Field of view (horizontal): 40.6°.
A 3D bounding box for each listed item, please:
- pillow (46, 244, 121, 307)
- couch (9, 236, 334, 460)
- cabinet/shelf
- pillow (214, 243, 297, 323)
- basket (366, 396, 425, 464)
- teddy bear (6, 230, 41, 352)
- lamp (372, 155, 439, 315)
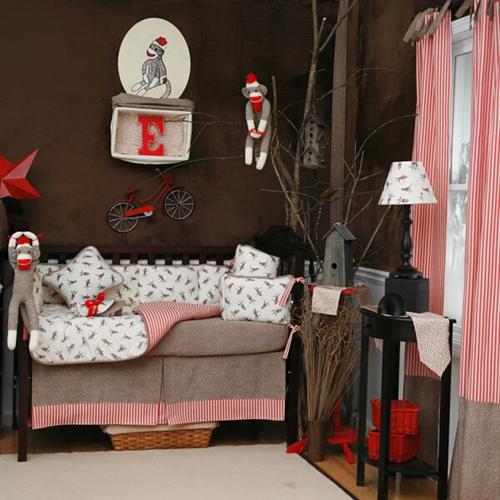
[{"bbox_3d":[-0.924,0.150,3.822,0.329,0.104,0.314,40,52,18],"label":"pillow"},{"bbox_3d":[-0.443,0.498,3.736,1.378,1.162,0.929,2,-1,-4],"label":"couch"},{"bbox_3d":[0.707,0.705,3.132,0.422,0.857,0.462,2,5,12],"label":"cabinet/shelf"},{"bbox_3d":[0.023,0.223,3.905,0.344,0.410,0.155,4,-18,1],"label":"pillow"},{"bbox_3d":[0.686,0.860,3.201,0.267,0.241,0.221,3,-4,-32],"label":"basket"},{"bbox_3d":[-1.160,0.209,3.468,0.155,0.603,0.396,-1,5,-19],"label":"teddy bear"},{"bbox_3d":[0.729,-0.080,3.175,0.255,0.705,0.423,2,5,15],"label":"lamp"}]
